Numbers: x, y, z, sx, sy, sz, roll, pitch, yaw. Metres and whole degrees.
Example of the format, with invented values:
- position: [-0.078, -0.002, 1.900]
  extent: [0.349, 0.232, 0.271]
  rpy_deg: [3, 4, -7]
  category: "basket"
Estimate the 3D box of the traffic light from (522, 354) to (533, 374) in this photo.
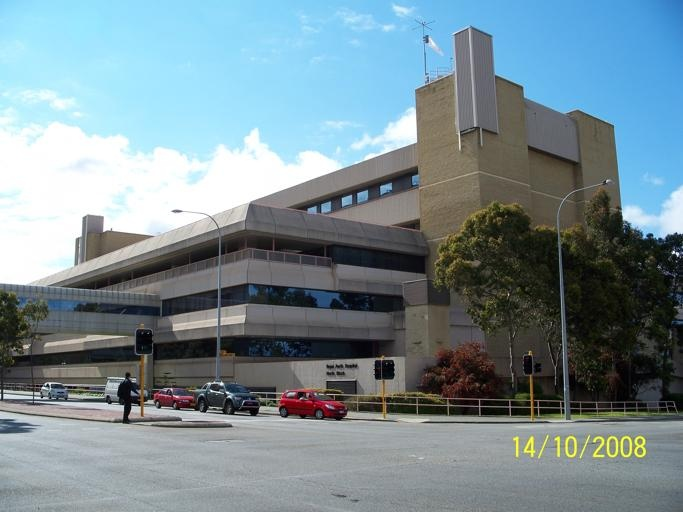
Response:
- position: [10.251, 5.885, 42.036]
  extent: [0.487, 1.083, 0.603]
  rpy_deg: [-3, -15, 12]
  category: "traffic light"

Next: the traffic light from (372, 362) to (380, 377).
- position: [2.067, 6.315, 43.233]
  extent: [0.294, 0.982, 0.731]
  rpy_deg: [4, -16, -12]
  category: "traffic light"

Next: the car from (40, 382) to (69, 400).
- position: [-25.250, 11.882, 67.513]
  extent: [1.396, 1.132, 2.445]
  rpy_deg: [10, -21, -31]
  category: "car"

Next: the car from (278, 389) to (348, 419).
- position: [-1.713, 8.618, 44.545]
  extent: [1.038, 1.937, 4.876]
  rpy_deg: [14, -22, -42]
  category: "car"
